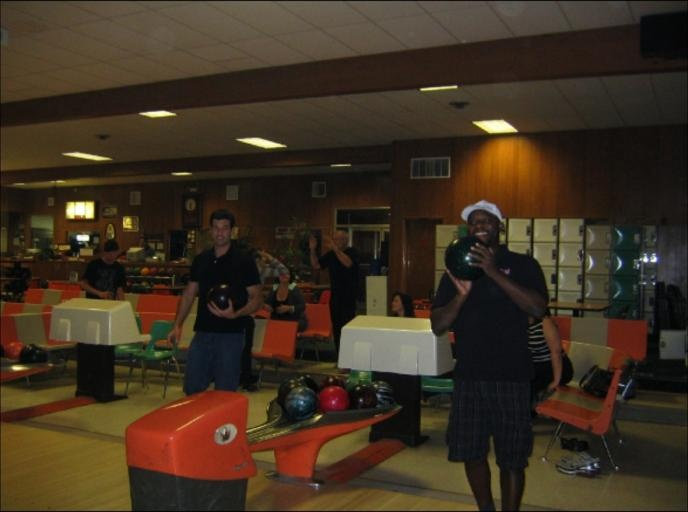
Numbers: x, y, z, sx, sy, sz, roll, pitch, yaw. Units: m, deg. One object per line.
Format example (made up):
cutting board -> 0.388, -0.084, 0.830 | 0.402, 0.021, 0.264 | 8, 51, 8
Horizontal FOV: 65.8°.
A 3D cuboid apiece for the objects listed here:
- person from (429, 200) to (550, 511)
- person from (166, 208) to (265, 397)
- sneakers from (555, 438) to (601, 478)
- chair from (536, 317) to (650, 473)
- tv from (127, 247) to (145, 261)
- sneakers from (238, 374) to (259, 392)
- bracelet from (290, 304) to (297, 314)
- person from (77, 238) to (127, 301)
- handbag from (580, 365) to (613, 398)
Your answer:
person -> 0.819, 0.579, 2.975 | 0.581, 1.728, 0.444 | -1, 0, -18
person -> -1.004, 0.359, 4.071 | 0.687, 1.205, 0.586 | -1, 0, -1
sneakers -> 1.828, 1.581, 4.196 | 0.205, 0.118, 0.274 | 0, -4, -10
chair -> 2.145, 1.133, 4.781 | 1.056, 1.371, 1.005 | 0, -3, 28
tv -> -5.347, -0.056, 13.589 | 0.317, 0.219, 0.316 | -4, 5, 9
sneakers -> -1.136, 1.504, 6.345 | 0.102, 0.218, 0.314 | 2, 3, 16
bracelet -> -0.741, 0.757, 7.690 | 0.086, 0.082, 0.085 | 1, -4, -5
person -> -3.042, 0.272, 6.775 | 0.548, 0.978, 0.527 | 6, 9, -34
handbag -> 2.199, 1.095, 4.686 | 0.208, 0.110, 0.256 | -44, 11, -19
